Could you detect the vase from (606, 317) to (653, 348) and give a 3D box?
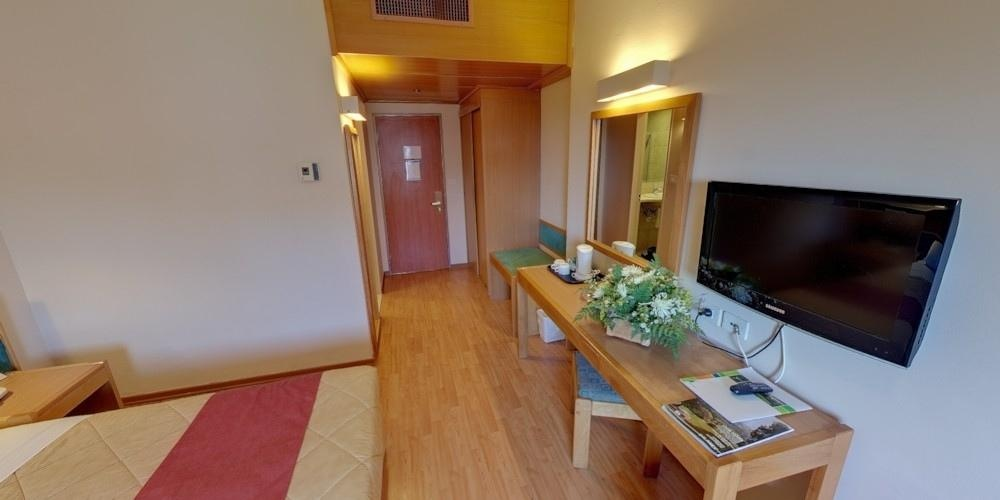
[{"bbox_3d":[0.942,0.632,4.187,0.220,0.086,0.264,1,13,-23],"label":"vase"}]

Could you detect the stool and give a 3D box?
[{"bbox_3d":[1.001,1.300,4.705,0.953,0.667,0.891,9,10,8],"label":"stool"}]

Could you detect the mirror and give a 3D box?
[{"bbox_3d":[1.170,-0.520,4.432,0.090,1.639,1.582,-6,13,-27],"label":"mirror"}]

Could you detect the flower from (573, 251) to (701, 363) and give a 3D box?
[{"bbox_3d":[1.064,0.405,4.191,0.826,0.399,0.748,21,38,14],"label":"flower"}]

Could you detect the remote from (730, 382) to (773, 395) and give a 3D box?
[{"bbox_3d":[1.734,0.963,3.836,0.225,0.037,0.105,-2,16,4],"label":"remote"}]

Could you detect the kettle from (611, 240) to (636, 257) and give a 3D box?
[{"bbox_3d":[1.033,-0.012,4.673,0.107,0.149,0.154,-13,42,-36],"label":"kettle"}]

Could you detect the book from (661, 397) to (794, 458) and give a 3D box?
[{"bbox_3d":[1.470,1.186,3.730,0.508,0.044,0.402,-8,22,-25],"label":"book"}]

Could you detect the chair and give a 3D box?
[{"bbox_3d":[0.269,0.279,5.577,0.652,0.790,1.027,-4,25,-10],"label":"chair"}]

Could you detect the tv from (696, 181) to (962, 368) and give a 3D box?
[{"bbox_3d":[2.242,0.154,3.687,1.360,0.834,0.190,19,16,38],"label":"tv"}]

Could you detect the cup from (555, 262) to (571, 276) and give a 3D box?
[{"bbox_3d":[0.570,0.173,5.004,0.132,0.074,0.113,-1,22,-6],"label":"cup"}]
